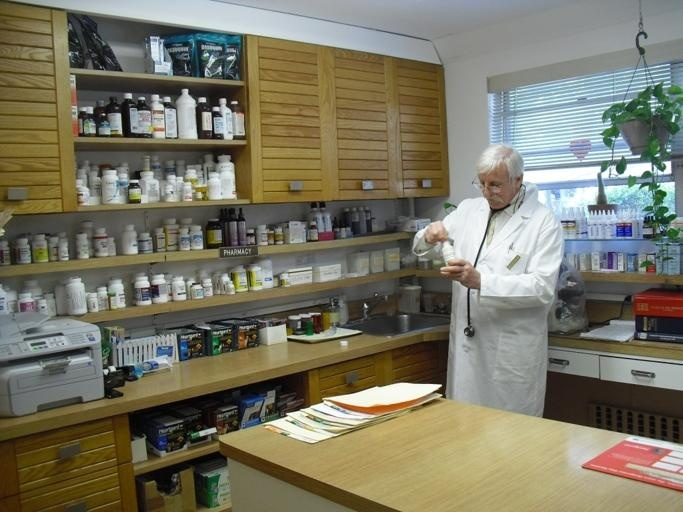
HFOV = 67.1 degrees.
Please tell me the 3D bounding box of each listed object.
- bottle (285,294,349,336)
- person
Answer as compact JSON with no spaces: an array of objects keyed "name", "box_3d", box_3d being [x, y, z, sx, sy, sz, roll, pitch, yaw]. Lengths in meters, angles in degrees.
[{"name":"bottle","box_3d":[-0.183,0.458,3.904,0.192,0.172,0.527,-2,-1,31]},{"name":"person","box_3d":[0.916,0.156,3.103,0.790,1.619,0.726,-3,5,20]}]
